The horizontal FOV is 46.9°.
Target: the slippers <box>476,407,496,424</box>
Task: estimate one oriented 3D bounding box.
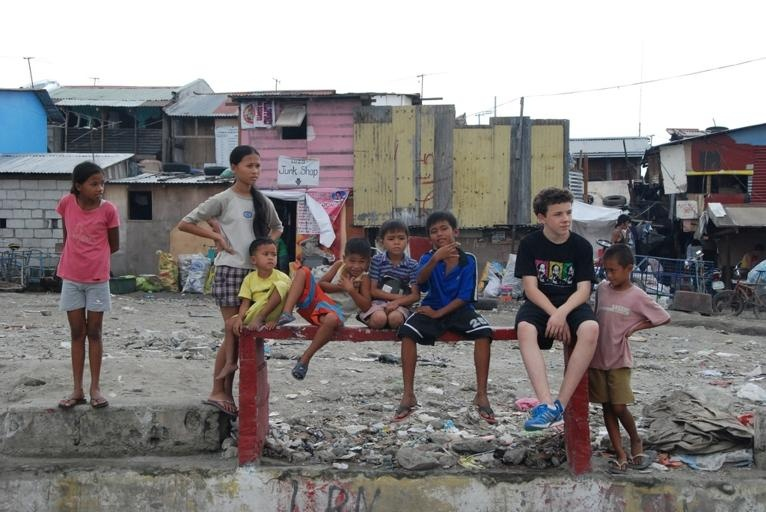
[{"bbox_3d":[1.234,1.872,10.463,0.128,0.079,0.308,4,-3,-12],"label":"slippers"}]

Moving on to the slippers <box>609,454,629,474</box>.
[{"bbox_3d":[2.654,2.353,9.968,0.137,0.065,0.239,-12,35,15],"label":"slippers"}]

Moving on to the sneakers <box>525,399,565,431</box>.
[{"bbox_3d":[1.766,1.765,9.746,0.581,0.250,0.211,-16,7,-35],"label":"sneakers"}]

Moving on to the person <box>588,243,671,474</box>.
[{"bbox_3d":[2.757,1.129,10.079,0.799,2.518,0.482,0,3,9],"label":"person"}]

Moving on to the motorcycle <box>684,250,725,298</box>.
[{"bbox_3d":[7.390,0.448,20.127,0.958,1.292,0.613,0,17,29],"label":"motorcycle"}]

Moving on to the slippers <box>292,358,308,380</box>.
[{"bbox_3d":[-0.964,1.294,10.335,0.122,0.101,0.336,18,29,-12],"label":"slippers"}]

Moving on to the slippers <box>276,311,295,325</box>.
[{"bbox_3d":[-1.125,0.725,10.221,0.202,0.093,0.097,-8,-6,34],"label":"slippers"}]

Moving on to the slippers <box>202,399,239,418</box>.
[{"bbox_3d":[-1.886,1.736,10.268,0.381,0.099,0.176,35,-2,7],"label":"slippers"}]

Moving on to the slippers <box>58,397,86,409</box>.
[{"bbox_3d":[-3.615,1.699,10.249,0.293,0.081,0.118,3,3,-23],"label":"slippers"}]

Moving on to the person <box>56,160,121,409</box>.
[{"bbox_3d":[-3.490,0.326,10.436,0.708,2.845,0.674,-2,3,-17],"label":"person"}]
